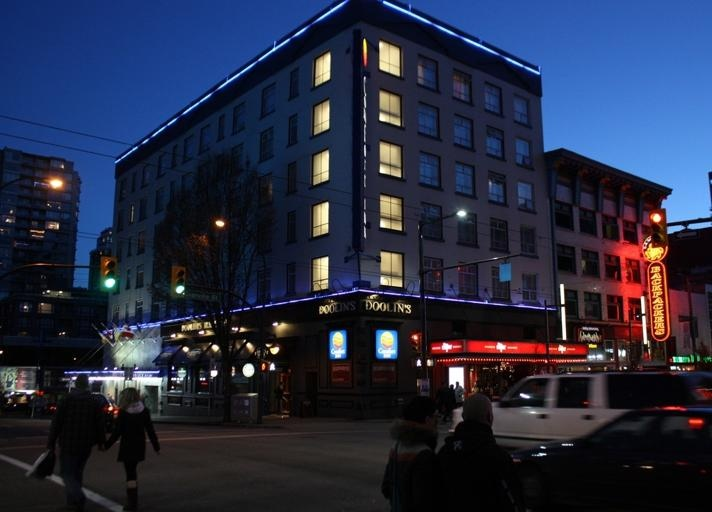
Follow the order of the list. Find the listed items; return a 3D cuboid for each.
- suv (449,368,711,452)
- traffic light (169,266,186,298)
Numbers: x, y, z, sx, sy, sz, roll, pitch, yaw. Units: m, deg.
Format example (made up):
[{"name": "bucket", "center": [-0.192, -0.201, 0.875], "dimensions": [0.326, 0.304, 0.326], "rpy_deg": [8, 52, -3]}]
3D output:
[{"name": "suv", "center": [5.840, 3.543, 17.150], "dimensions": [2.577, 2.007, 5.536], "rpy_deg": [10, -15, -43]}, {"name": "traffic light", "center": [-7.411, 0.961, 29.010], "dimensions": [0.553, 1.309, 1.093], "rpy_deg": [3, -16, -17]}]
